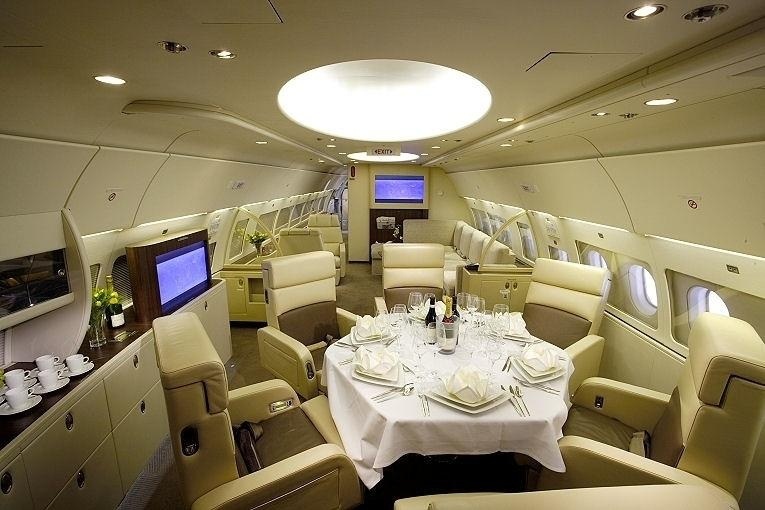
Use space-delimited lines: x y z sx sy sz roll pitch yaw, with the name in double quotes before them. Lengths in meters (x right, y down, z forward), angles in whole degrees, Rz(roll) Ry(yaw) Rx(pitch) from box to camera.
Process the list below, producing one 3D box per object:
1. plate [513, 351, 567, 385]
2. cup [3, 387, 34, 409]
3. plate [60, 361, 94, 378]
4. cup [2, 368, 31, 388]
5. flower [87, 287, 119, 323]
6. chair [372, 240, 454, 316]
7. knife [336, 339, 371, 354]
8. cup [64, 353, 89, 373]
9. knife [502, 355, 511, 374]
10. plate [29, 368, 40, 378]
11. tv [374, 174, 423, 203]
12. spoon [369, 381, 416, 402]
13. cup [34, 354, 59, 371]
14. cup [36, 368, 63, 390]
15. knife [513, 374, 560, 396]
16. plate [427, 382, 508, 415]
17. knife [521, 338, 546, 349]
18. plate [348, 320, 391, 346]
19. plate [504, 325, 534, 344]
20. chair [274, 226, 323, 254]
"plate" 1.371 0.993 3.747 0.324 0.114 0.312 -9 14 -23
"cup" -2.757 1.085 3.236 0.126 0.124 0.155 2 -4 -38
"plate" -2.547 0.970 3.593 0.138 0.053 0.140 7 -2 38
"cup" -2.901 0.978 3.409 0.135 0.130 0.173 4 -16 -24
"flower" -2.642 0.495 4.096 0.269 0.356 0.297 2 12 -8
"chair" 0.368 0.219 5.657 1.026 1.476 0.787 0 3 -1
"knife" -0.298 0.870 4.103 0.434 0.024 0.121 2 42 7
"cup" -2.569 0.900 3.619 0.125 0.120 0.158 2 8 -4
"knife" 1.122 0.993 3.870 0.044 0.022 0.192 2 7 25
"plate" -2.912 0.990 3.586 0.087 0.040 0.116 18 2 -33
"tv" 0.416 -1.627 10.625 1.222 0.634 0.227 -2 5 -15
"spoon" 0.091 1.132 3.484 0.120 0.067 0.449 17 20 37
"cup" -2.768 0.880 3.568 0.132 0.122 0.168 5 8 29
"cup" -2.652 0.992 3.416 0.164 0.138 0.131 -8 8 -33
"knife" 1.287 1.106 3.627 0.377 0.057 0.117 12 17 9
"plate" 0.685 1.142 3.435 0.676 0.164 0.260 -1 5 -5
"knife" 1.479 0.861 4.223 0.318 0.018 0.082 -2 4 -42
"plate" -0.115 0.769 4.164 0.260 0.112 0.254 2 7 -5
"plate" 1.356 0.794 4.278 0.173 0.061 0.168 1 10 -6
"chair" -1.651 -0.259 8.443 0.605 0.641 0.653 2 10 6
